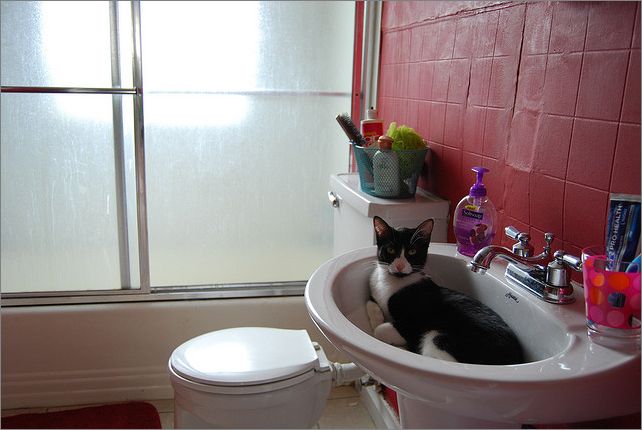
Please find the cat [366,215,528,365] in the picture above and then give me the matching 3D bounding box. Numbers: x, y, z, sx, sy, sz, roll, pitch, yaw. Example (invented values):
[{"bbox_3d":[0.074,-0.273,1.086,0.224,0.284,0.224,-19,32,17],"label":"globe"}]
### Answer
[{"bbox_3d":[0.268,0.227,1.109,0.292,0.311,0.397,9,18,-27],"label":"cat"}]
